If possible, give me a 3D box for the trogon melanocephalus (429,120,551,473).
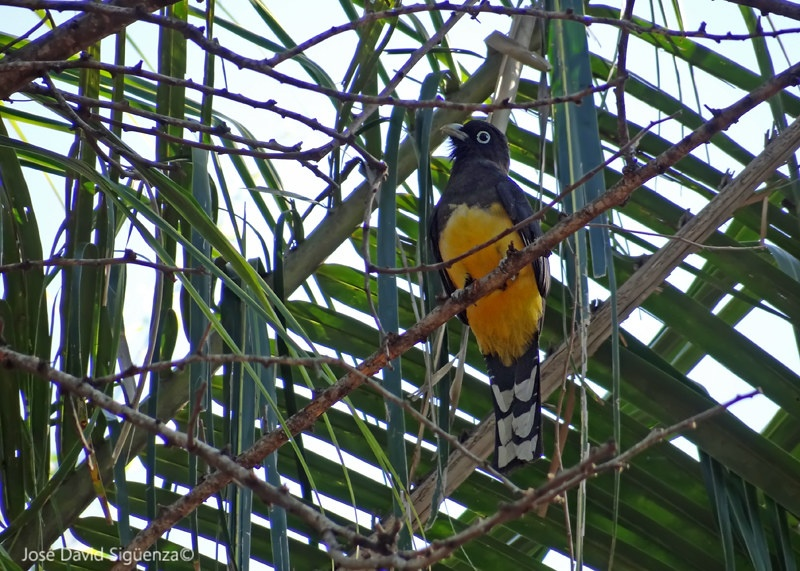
[{"bbox_3d":[0.499,-0.018,8.807,0.503,1.925,0.707,-1,-8,-17],"label":"trogon melanocephalus"}]
